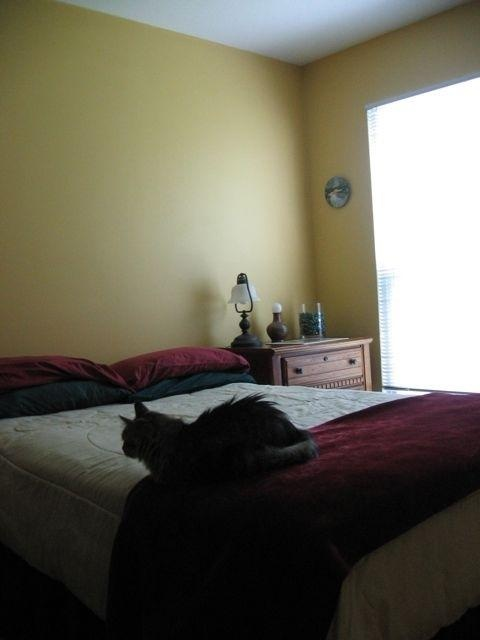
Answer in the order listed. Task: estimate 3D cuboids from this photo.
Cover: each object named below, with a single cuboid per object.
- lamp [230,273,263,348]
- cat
[{"bbox_3d":[0.030,-0.076,3.326,0.186,0.448,0.565,-1,6,-1],"label":"lamp"},{"bbox_3d":[-0.064,0.219,1.058,0.290,0.131,0.204,-9,-6,1],"label":"cat"}]
